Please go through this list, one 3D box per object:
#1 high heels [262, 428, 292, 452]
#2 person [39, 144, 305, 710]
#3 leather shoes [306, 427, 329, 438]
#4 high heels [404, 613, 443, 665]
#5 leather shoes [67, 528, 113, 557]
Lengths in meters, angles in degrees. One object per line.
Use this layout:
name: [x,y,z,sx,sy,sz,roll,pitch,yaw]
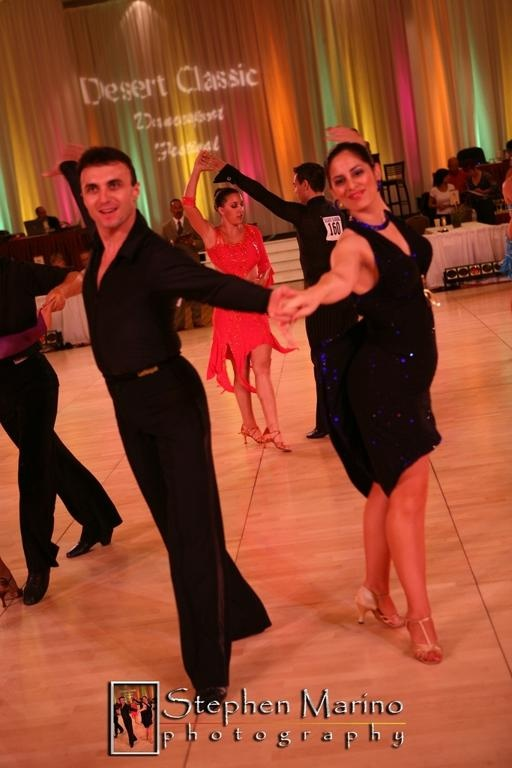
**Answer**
high heels: [0.128,0.378,4.096,0.091,0.120,0.283,-11,17,-36]
person: [-0.181,0.073,1.580,0.402,1.328,0.601,-13,5,-19]
leather shoes: [0.429,0.343,4.145,0.182,0.075,0.061,2,-3,19]
high heels: [0.430,0.662,1.536,0.055,0.063,0.153,-6,10,0]
leather shoes: [-0.829,0.792,3.011,0.277,0.147,0.091,-8,2,-19]
